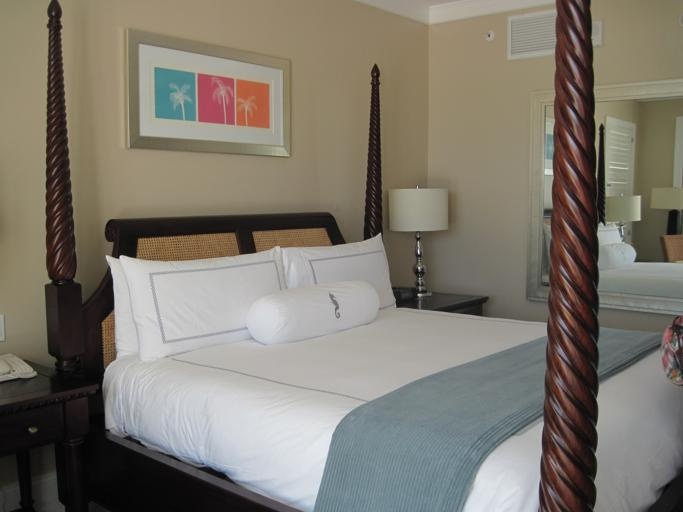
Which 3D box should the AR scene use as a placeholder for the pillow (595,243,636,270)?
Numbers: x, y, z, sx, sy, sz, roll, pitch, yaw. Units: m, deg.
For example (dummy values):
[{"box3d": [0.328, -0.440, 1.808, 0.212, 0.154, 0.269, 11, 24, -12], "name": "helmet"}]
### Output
[{"box3d": [2.079, -0.001, 3.883, 0.163, 0.114, 0.132, -9, 13, -35], "name": "pillow"}]
